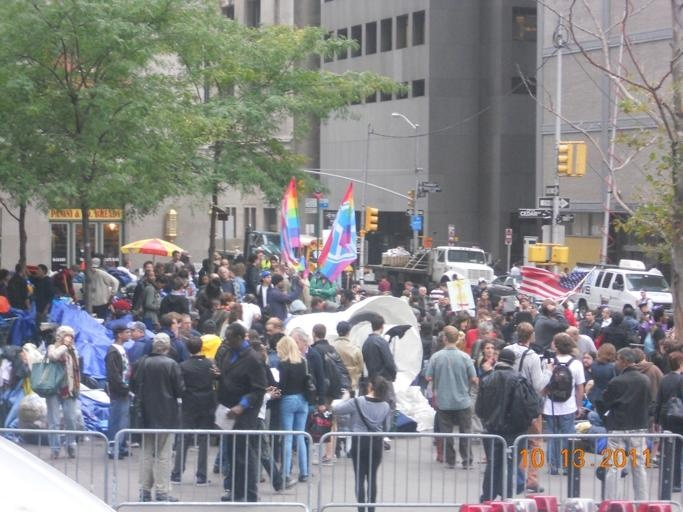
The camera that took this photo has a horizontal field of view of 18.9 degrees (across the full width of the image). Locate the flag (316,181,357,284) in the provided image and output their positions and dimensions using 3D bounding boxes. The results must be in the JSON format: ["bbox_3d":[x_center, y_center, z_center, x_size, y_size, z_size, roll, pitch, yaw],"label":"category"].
[{"bbox_3d":[-0.112,-0.619,62.249,0.850,3.301,0.511,-2,5,-11],"label":"flag"}]

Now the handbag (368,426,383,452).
[{"bbox_3d":[0.885,4.722,52.876,0.276,0.627,0.695,-1,-4,-5],"label":"handbag"}]

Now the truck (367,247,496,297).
[{"bbox_3d":[3.569,0.602,80.974,4.488,1.852,2.206,0,3,-16],"label":"truck"}]

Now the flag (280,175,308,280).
[{"bbox_3d":[-1.498,-0.881,62.088,0.848,3.123,0.646,-4,4,-31],"label":"flag"}]
